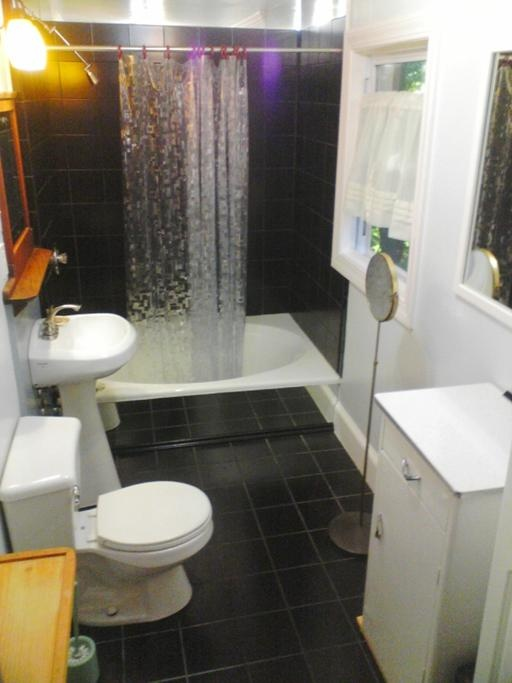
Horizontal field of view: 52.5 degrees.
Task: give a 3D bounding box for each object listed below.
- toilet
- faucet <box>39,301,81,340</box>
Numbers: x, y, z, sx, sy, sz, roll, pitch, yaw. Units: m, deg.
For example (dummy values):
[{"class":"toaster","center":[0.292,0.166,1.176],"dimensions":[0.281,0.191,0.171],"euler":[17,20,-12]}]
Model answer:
[{"class":"toilet","center":[-0.473,0.420,1.916],"dimensions":[0.643,0.904,0.536],"euler":[-3,31,-18]},{"class":"faucet","center":[-0.926,-0.095,2.460],"dimensions":[0.121,0.146,0.196],"euler":[3,32,-12]}]
